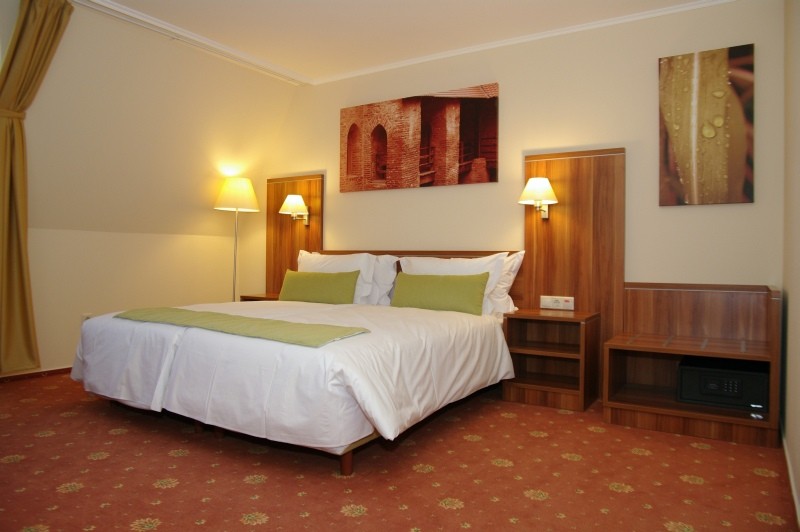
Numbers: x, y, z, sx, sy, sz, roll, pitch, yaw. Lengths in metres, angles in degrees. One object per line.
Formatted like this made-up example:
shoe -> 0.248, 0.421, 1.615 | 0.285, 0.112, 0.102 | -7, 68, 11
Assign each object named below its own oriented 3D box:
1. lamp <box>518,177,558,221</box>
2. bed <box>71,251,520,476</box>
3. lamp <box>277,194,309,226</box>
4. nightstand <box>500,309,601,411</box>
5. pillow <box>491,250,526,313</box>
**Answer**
lamp -> 1.310, -0.592, 5.063 | 0.372, 0.384, 0.390 | -5, -8, 41
bed -> -0.302, 0.784, 4.092 | 1.979, 0.837, 1.857 | -4, -7, 37
lamp -> -1.246, -0.666, 6.302 | 0.314, 0.355, 0.240 | 1, 12, 0
nightstand -> 1.270, 0.820, 5.028 | 1.115, 1.116, 0.773 | -3, -6, 34
pillow -> 1.049, 0.156, 5.054 | 0.495, 0.486, 0.146 | -7, -16, 37
